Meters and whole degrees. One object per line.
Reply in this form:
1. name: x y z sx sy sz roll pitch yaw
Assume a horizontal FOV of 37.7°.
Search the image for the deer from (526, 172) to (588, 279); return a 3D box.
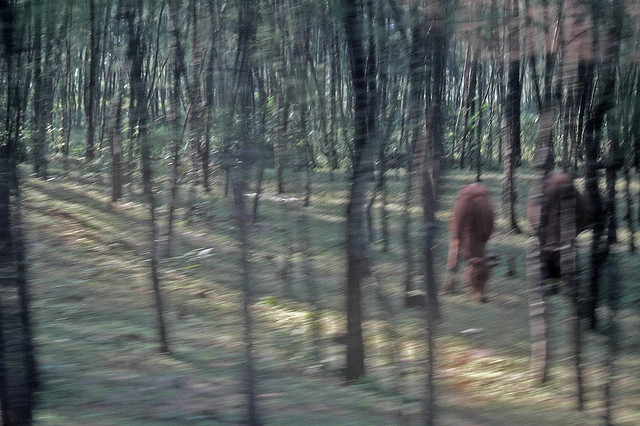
1. deer: 1.699 0.085 6.802 0.238 0.761 0.617 -1 5 -6
